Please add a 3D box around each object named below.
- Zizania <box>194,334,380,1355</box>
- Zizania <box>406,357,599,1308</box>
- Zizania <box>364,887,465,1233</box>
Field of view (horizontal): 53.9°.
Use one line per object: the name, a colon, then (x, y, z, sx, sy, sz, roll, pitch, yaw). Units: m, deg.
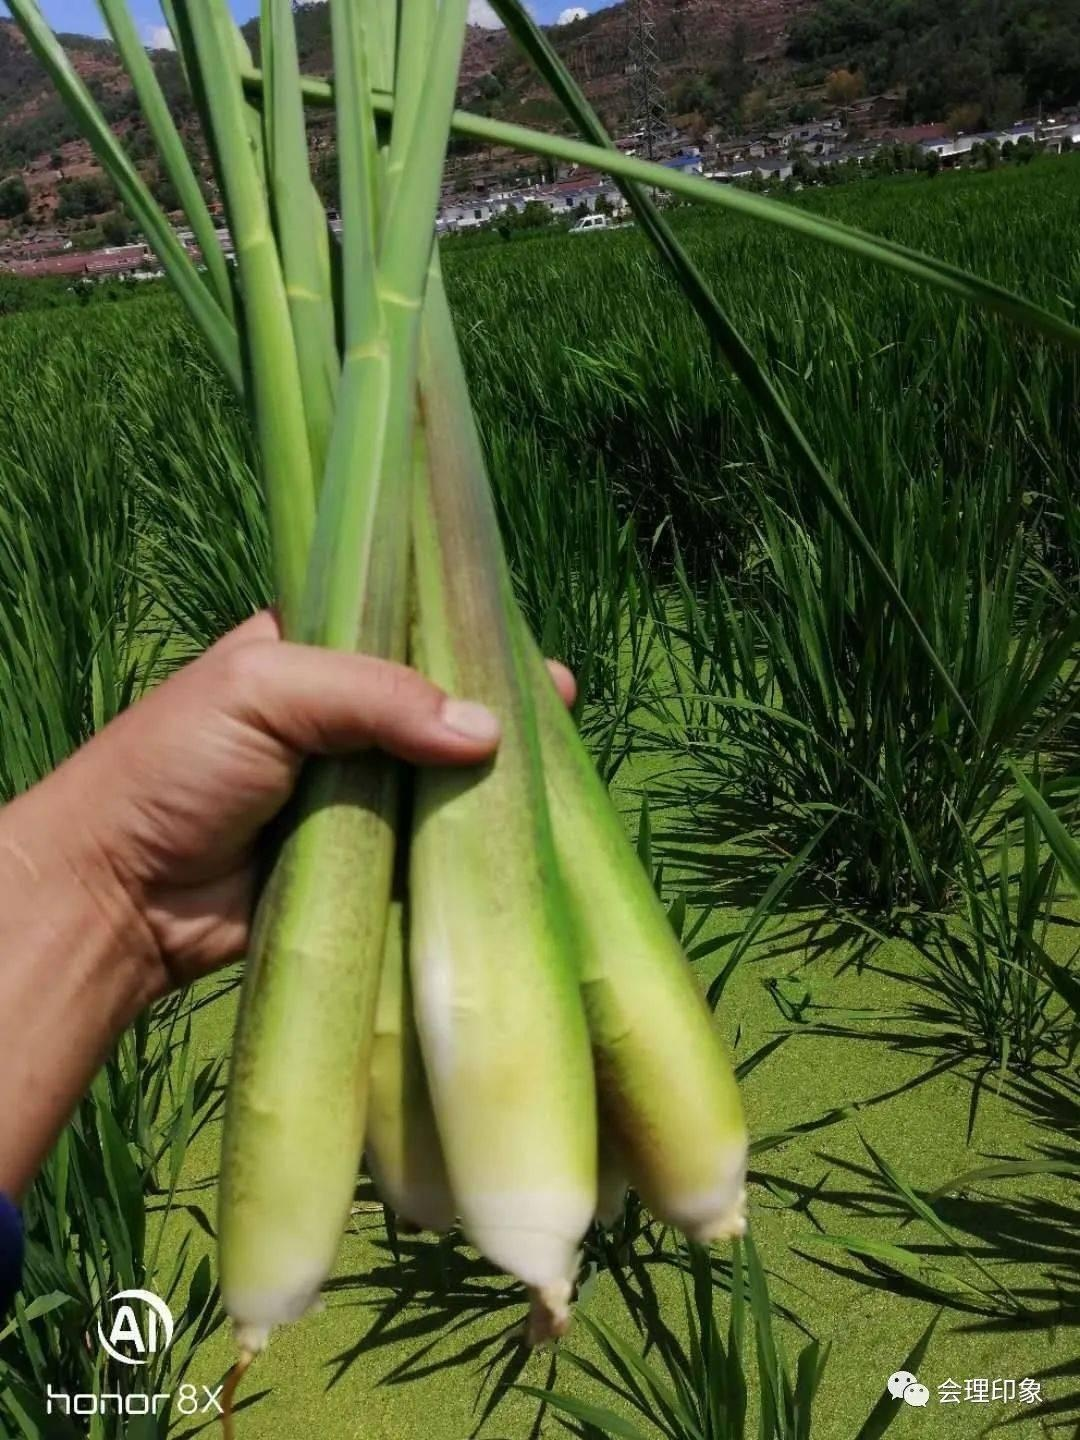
Zizania: (-0.089, -0.008, 0.626, 0.070, 0.090, 0.652, 12, 63, -13)
Zizania: (-0.040, -0.005, 0.631, 0.086, 0.073, 0.635, -6, 74, -4)
Zizania: (-0.068, 0.206, 0.654, 0.043, 0.219, 0.055, -5, 4, -25)
